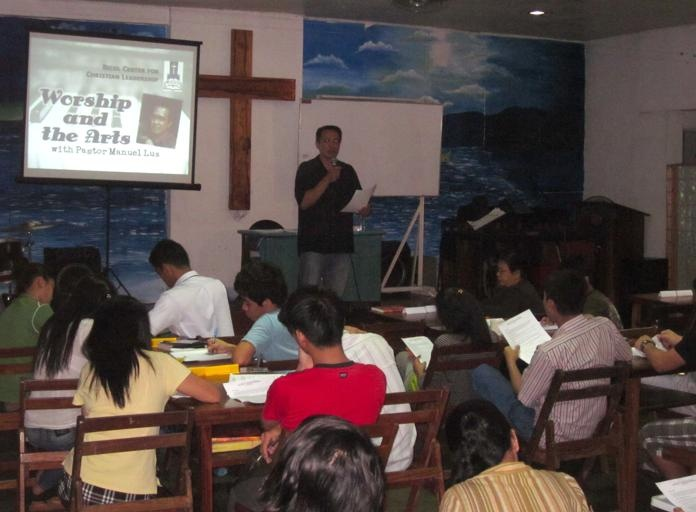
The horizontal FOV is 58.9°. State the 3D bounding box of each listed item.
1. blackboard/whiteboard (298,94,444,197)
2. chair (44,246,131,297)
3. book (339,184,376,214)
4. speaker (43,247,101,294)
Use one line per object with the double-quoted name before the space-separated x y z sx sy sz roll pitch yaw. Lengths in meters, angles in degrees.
"blackboard/whiteboard" 0.184 -1.378 8.333 2.048 1.161 1.320 -1 5 -18
"chair" -2.573 0.150 6.025 0.856 0.488 0.501 3 6 -11
"book" 0.132 -0.629 6.946 0.285 0.143 0.325 -7 -18 -36
"speaker" -2.605 0.136 5.775 0.452 0.443 0.241 1 -3 -18
